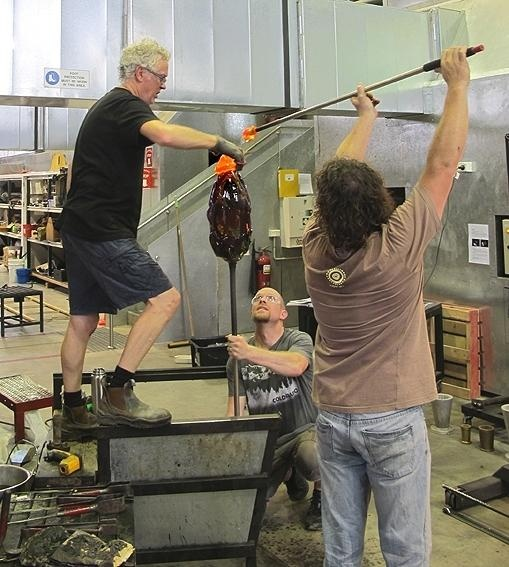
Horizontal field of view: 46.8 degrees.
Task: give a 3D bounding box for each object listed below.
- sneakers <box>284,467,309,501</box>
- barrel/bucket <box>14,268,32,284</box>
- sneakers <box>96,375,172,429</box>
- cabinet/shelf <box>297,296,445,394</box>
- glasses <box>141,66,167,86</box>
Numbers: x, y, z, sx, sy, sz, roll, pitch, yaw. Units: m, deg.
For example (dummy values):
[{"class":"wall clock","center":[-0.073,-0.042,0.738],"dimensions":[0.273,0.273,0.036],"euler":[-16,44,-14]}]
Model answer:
[{"class":"sneakers","center":[0.207,1.103,3.221],"dimensions":[0.104,0.113,0.275],"euler":[-32,9,8]},{"class":"barrel/bucket","center":[-4.147,-0.130,10.427],"dimensions":[0.302,0.247,0.237],"euler":[2,0,12]},{"class":"sneakers","center":[-0.435,0.437,2.163],"dimensions":[0.310,0.170,0.128],"euler":[1,7,-5]},{"class":"cabinet/shelf","center":[0.988,0.466,5.047],"dimensions":[1.041,1.109,0.775],"euler":[0,0,11]},{"class":"glasses","center":[-0.394,-0.822,2.324],"dimensions":[0.063,0.018,0.061],"euler":[34,19,11]}]
